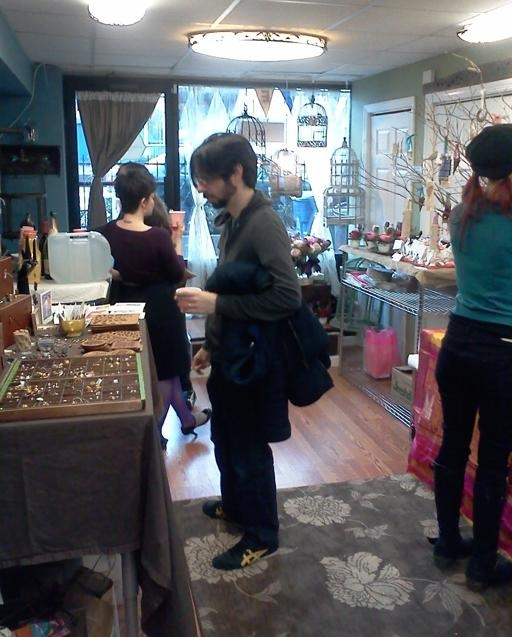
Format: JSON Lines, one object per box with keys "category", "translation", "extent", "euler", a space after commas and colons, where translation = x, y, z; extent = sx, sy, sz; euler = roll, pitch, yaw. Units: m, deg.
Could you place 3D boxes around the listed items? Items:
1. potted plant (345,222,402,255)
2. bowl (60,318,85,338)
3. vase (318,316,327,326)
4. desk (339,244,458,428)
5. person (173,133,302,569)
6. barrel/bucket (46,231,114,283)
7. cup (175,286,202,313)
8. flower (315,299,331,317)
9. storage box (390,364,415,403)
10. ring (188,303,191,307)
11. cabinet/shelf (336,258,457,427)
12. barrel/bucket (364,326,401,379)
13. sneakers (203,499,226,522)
{"category": "potted plant", "translation": [0.959, -0.647, 3.628], "extent": [0.205, 0.270, 0.469], "euler": [-2, 4, -21]}
{"category": "bowl", "translation": [-0.626, 0.029, 1.533], "extent": [0.061, 0.050, 0.068], "euler": [-1, 2, 4]}
{"category": "vase", "translation": [0.535, 0.014, 3.541], "extent": [0.059, 0.061, 0.057], "euler": [2, 43, -4]}
{"category": "desk", "translation": [0.956, 0.112, 3.040], "extent": [0.416, 0.986, 1.115], "euler": [-6, 19, -15]}
{"category": "person", "translation": [-0.075, 0.148, 1.551], "extent": [0.382, 1.486, 0.564], "euler": [-2, 4, -10]}
{"category": "barrel/bucket", "translation": [-0.792, -0.280, 2.020], "extent": [0.240, 0.225, 0.080], "euler": [-2, 10, -15]}
{"category": "cup", "translation": [-0.209, -0.059, 1.382], "extent": [0.072, 0.063, 0.080], "euler": [1, 5, 1]}
{"category": "flower", "translation": [0.658, -0.095, 4.239], "extent": [0.208, 0.163, 0.093], "euler": [-4, 5, -39]}
{"category": "storage box", "translation": [1.106, 0.480, 3.316], "extent": [0.216, 0.135, 0.214], "euler": [-8, 19, -37]}
{"category": "ring", "translation": [-0.202, -0.045, 1.373], "extent": [0.011, 0.012, 0.004], "euler": [-14, -16, 28]}
{"category": "cabinet/shelf", "translation": [0.953, 0.164, 3.075], "extent": [0.379, 1.023, 1.075], "euler": [0, 13, -14]}
{"category": "barrel/bucket", "translation": [1.118, 0.293, 3.867], "extent": [0.233, 0.389, 0.228], "euler": [-4, 12, 1]}
{"category": "sneakers", "translation": [-0.182, 0.828, 1.939], "extent": [0.120, 0.049, 0.064], "euler": [20, 59, 16]}
